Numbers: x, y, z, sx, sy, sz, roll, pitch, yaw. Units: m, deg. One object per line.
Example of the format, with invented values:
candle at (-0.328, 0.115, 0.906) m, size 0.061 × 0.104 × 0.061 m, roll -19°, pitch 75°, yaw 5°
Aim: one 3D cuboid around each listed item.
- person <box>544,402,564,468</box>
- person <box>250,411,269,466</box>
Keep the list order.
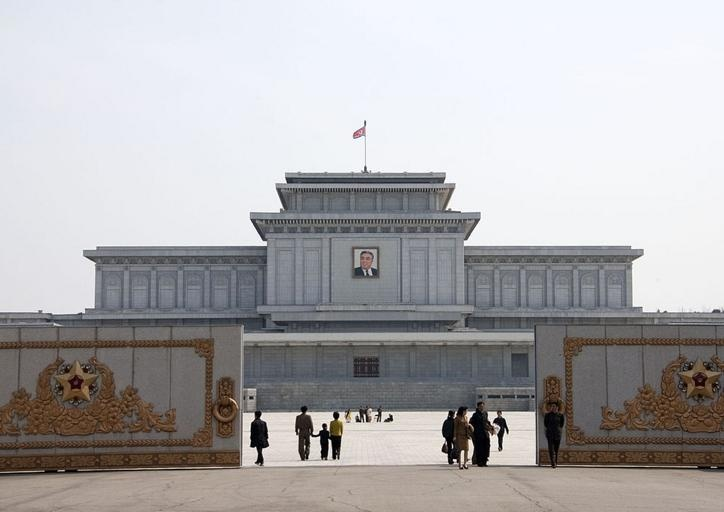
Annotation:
person at (6.558, 6.132, 50.246) m, size 0.708 × 2.239 × 0.505 m, roll -1°, pitch -9°, yaw 4°
person at (-3.707, 6.564, 52.505) m, size 0.581 × 1.934 × 1.009 m, roll 1°, pitch -9°, yaw -6°
